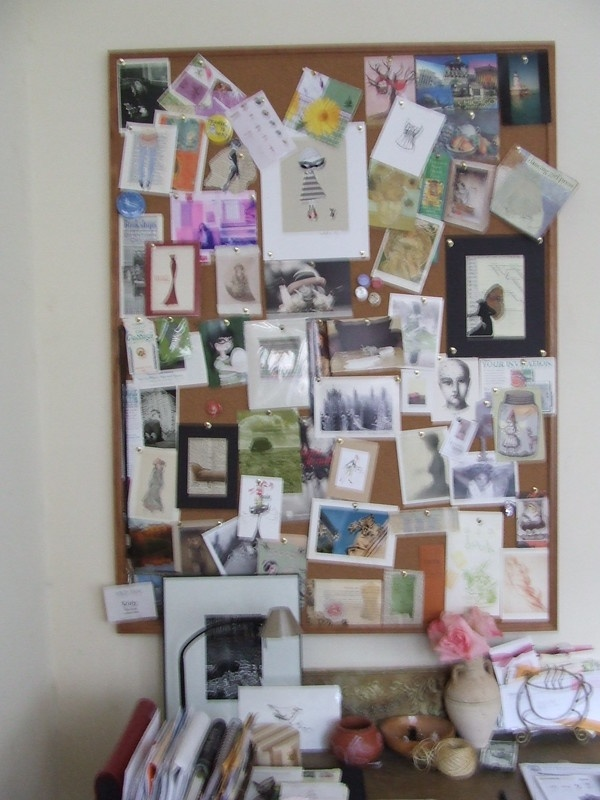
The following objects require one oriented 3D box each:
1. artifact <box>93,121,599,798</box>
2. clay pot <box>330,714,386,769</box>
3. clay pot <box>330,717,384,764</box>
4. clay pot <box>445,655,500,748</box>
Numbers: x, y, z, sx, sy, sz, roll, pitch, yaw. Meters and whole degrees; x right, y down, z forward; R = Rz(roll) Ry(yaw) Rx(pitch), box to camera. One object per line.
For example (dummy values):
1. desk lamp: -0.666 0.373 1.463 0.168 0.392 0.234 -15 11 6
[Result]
1. artifact: 0.099 0.088 2.100 1.307 1.753 0.609 -2 9 11
2. clay pot: 0.142 0.914 2.059 0.166 0.116 0.168 4 -5 0
3. clay pot: 0.152 0.878 2.009 0.114 0.077 0.113 -3 -18 -1
4. clay pot: 0.464 0.809 2.104 0.165 0.232 0.150 -2 2 0
